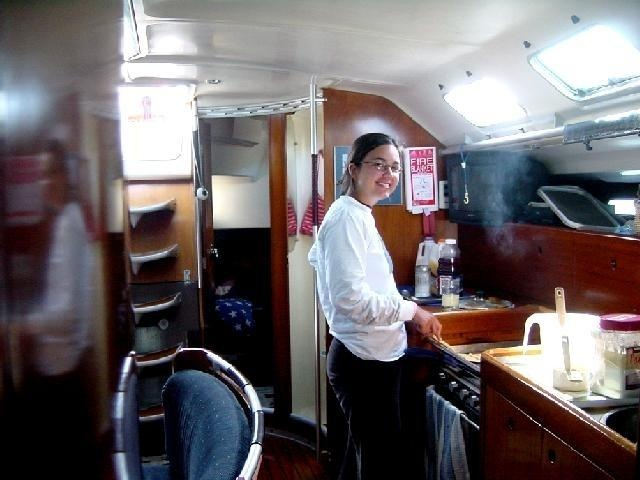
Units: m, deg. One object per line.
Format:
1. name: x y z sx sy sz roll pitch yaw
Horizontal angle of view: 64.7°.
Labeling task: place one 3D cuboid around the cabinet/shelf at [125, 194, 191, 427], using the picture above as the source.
1. cabinet/shelf: -1.014 0.455 3.013 0.327 1.557 0.421 0 24 -14

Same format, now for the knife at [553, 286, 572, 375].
1. knife: 0.763 0.232 1.604 0.040 0.383 0.056 -11 -35 39

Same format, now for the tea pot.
1. tea pot: 0.746 0.356 1.669 0.270 0.267 0.174 -1 -2 19

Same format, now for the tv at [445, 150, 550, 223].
1. tv: 1.005 -0.316 2.866 0.631 0.459 0.355 5 9 44
